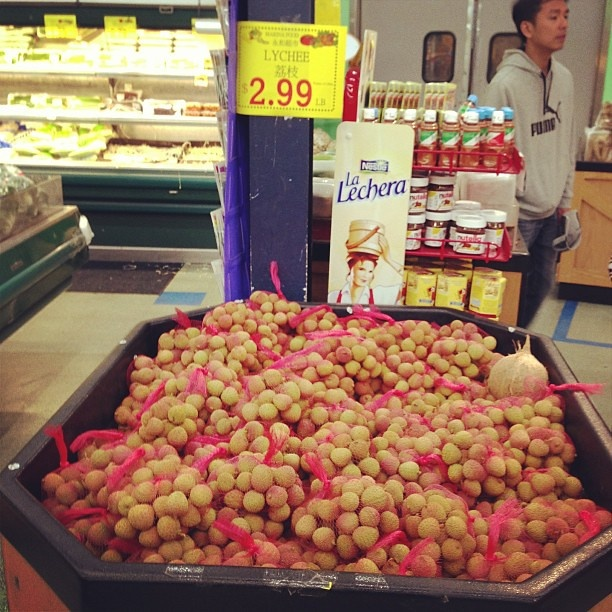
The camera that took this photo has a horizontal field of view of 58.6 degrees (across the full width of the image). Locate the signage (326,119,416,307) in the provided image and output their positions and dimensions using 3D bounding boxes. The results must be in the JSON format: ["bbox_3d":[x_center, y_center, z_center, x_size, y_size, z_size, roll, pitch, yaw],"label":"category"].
[{"bbox_3d":[0.222,-0.309,1.896,0.259,0.607,0.198,3,25,2],"label":"signage"}]

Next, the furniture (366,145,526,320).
[{"bbox_3d":[0.597,-0.132,2.505,0.648,0.810,0.446,2,-8,3],"label":"furniture"}]

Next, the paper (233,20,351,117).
[{"bbox_3d":[-0.051,-0.705,1.619,0.330,0.245,0.034,3,19,2],"label":"paper"}]

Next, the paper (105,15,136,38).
[{"bbox_3d":[-1.673,-2.522,4.909,0.228,0.140,0.009,5,46,-3],"label":"paper"}]
